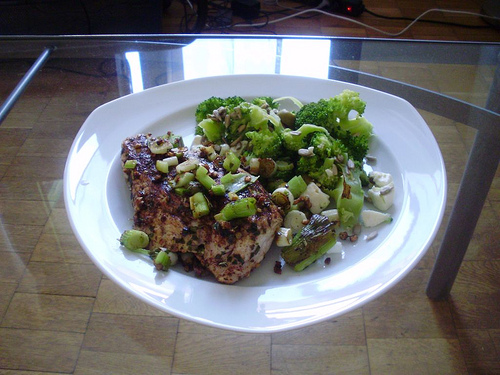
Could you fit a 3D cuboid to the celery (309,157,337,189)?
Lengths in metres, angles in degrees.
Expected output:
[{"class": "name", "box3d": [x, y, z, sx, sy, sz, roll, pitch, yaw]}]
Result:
[{"class": "celery", "box3d": [0.259, -0.050, 1.412, 0.101, 0.097, 0.047, 7, 23, 6]}]

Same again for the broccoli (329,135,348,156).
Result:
[{"class": "broccoli", "box3d": [0.299, -0.144, 1.386, 0.070, 0.019, 0.067, -8, 78, -30]}]

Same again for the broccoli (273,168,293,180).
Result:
[{"class": "broccoli", "box3d": [0.117, -0.049, 1.385, 0.077, 0.033, 0.025, -18, 52, -13]}]

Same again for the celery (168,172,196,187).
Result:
[{"class": "celery", "box3d": [-0.208, -0.022, 1.222, 0.083, 0.030, 0.032, -10, 51, -6]}]

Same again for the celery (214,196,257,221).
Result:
[{"class": "celery", "box3d": [-0.039, 0.063, 1.167, 0.133, 0.049, 0.050, -11, 51, -8]}]

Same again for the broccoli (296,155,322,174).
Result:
[{"class": "broccoli", "box3d": [0.197, -0.079, 1.359, 0.060, 0.036, 0.061, -2, 44, -1]}]

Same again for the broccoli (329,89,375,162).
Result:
[{"class": "broccoli", "box3d": [0.356, -0.213, 1.424, 0.142, 0.266, 0.109, -4, 32, 2]}]

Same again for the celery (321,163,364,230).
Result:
[{"class": "celery", "box3d": [0.314, 0.039, 1.329, 0.123, 0.199, 0.086, -11, 33, -17]}]

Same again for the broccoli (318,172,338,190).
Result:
[{"class": "broccoli", "box3d": [0.263, -0.022, 1.361, 0.059, 0.057, 0.019, 32, 37, 10]}]

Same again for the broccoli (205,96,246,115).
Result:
[{"class": "broccoli", "box3d": [-0.095, -0.301, 1.438, 0.093, 0.039, 0.079, -4, 14, 21]}]

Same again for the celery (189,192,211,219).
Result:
[{"class": "celery", "box3d": [-0.151, 0.047, 1.183, 0.061, 0.027, 0.075, -35, 61, 5]}]

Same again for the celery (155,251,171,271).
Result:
[{"class": "celery", "box3d": [-0.239, 0.200, 1.091, 0.041, 0.014, 0.042, 28, 38, -23]}]

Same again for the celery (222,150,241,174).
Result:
[{"class": "celery", "box3d": [-0.061, -0.083, 1.309, 0.060, 0.022, 0.062, 29, 65, -13]}]

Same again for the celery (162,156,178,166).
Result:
[{"class": "celery", "box3d": [-0.247, -0.084, 1.266, 0.040, 0.026, 0.025, -12, 47, 2]}]

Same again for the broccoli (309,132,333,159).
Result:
[{"class": "broccoli", "box3d": [0.240, -0.146, 1.353, 0.076, 0.035, 0.087, -1, 56, -1]}]

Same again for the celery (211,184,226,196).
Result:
[{"class": "celery", "box3d": [-0.094, 0.008, 1.193, 0.038, 0.031, 0.029, -2, 68, 1]}]

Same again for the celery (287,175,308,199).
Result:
[{"class": "celery", "box3d": [0.157, -0.005, 1.346, 0.064, 0.064, 0.072, -40, 90, -15]}]

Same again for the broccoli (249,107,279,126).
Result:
[{"class": "broccoli", "box3d": [0.049, -0.248, 1.416, 0.105, 0.049, 0.038, 7, 51, 8]}]

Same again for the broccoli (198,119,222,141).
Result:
[{"class": "broccoli", "box3d": [-0.139, -0.205, 1.429, 0.074, 0.073, 0.032, 52, 25, -9]}]

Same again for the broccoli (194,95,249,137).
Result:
[{"class": "broccoli", "box3d": [-0.095, -0.249, 1.483, 0.220, 0.191, 0.083, -11, 85, -6]}]

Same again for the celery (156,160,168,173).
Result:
[{"class": "celery", "box3d": [-0.275, -0.067, 1.264, 0.045, 0.022, 0.031, 21, 54, 18]}]

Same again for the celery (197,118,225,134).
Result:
[{"class": "celery", "box3d": [-0.139, -0.219, 1.425, 0.086, 0.061, 0.035, 12, 52, 12]}]

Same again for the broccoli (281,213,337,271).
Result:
[{"class": "broccoli", "box3d": [0.177, 0.167, 1.196, 0.171, 0.134, 0.119, 5, 30, 13]}]

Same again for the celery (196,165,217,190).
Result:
[{"class": "celery", "box3d": [-0.132, -0.032, 1.223, 0.019, 0.059, 0.069, -18, 44, -25]}]

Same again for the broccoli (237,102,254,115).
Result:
[{"class": "broccoli", "box3d": [-0.019, -0.280, 1.408, 0.042, 0.017, 0.040, 11, 47, 8]}]

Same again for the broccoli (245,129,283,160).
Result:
[{"class": "broccoli", "box3d": [0.047, -0.159, 1.383, 0.109, 0.047, 0.090, 43, 68, 9]}]

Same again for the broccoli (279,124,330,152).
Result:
[{"class": "broccoli", "box3d": [0.180, -0.176, 1.390, 0.168, 0.092, 0.111, -12, 26, -19]}]

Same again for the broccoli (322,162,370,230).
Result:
[{"class": "broccoli", "box3d": [0.328, 0.035, 1.323, 0.149, 0.056, 0.208, 2, 71, 4]}]

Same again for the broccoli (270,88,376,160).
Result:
[{"class": "broccoli", "box3d": [0.264, -0.179, 1.453, 0.328, 0.152, 0.246, 23, 61, -4]}]
